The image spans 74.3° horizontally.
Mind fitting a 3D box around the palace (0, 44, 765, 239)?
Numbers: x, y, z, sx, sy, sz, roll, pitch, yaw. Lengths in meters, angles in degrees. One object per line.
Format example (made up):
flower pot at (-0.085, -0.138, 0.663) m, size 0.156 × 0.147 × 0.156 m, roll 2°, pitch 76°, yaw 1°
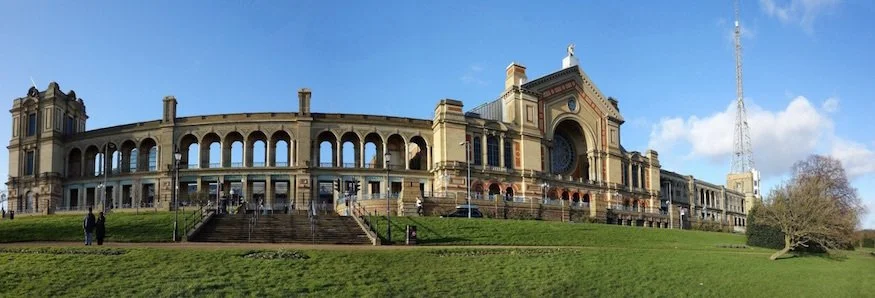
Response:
palace at (-9.182, -1.765, 143.345) m, size 179.189 × 44.307 × 49.373 m, roll 2°, pitch -11°, yaw -15°
